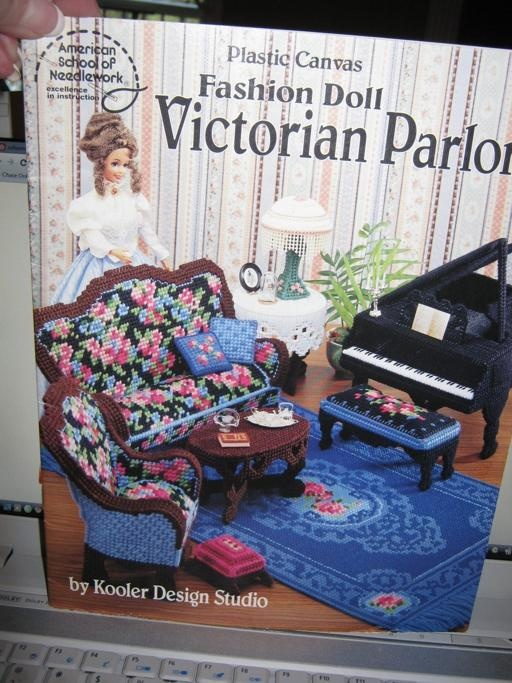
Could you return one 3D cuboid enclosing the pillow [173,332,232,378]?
[{"bbox_3d":[-0.184,0.038,2.163,0.163,0.152,0.050,-21,-8,-29],"label":"pillow"}]
